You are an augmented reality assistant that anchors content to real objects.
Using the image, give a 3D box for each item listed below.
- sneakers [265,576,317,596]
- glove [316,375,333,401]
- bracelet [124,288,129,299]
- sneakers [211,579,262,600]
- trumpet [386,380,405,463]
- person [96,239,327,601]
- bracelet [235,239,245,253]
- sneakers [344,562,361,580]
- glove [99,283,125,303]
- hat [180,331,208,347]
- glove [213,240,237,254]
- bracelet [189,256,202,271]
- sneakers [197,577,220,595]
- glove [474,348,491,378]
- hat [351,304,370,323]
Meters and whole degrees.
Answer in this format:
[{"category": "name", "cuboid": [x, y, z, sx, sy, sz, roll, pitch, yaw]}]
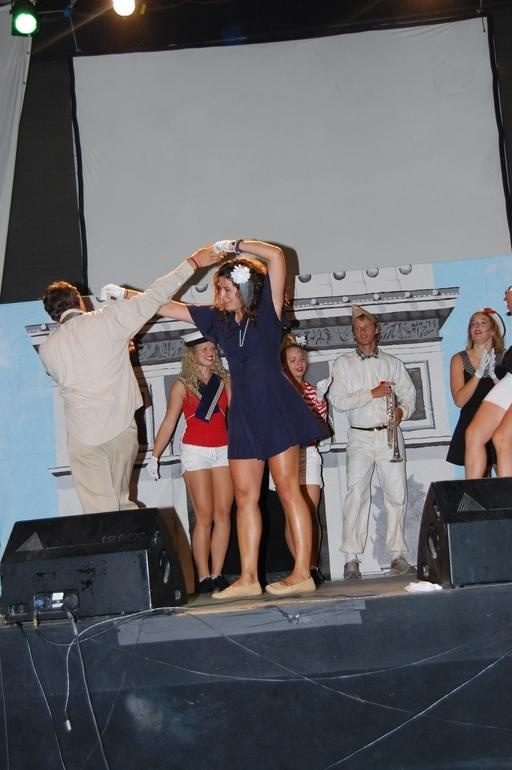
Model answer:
[{"category": "sneakers", "cuboid": [0.141, 0.791, 2.904, 0.150, 0.054, 0.079, 4, -12, -12]}, {"category": "glove", "cuboid": [0.427, 0.025, 4.610, 0.099, 0.060, 0.138, 20, -29, -30]}, {"category": "bracelet", "cuboid": [-0.607, -0.431, 3.475, 0.034, 0.044, 0.017, -7, 4, -41]}, {"category": "sneakers", "cuboid": [-0.073, 0.802, 2.891, 0.201, 0.069, 0.071, 1, -9, -1]}, {"category": "trumpet", "cuboid": [0.821, 0.230, 4.370, 0.081, 0.447, 0.178, -8, -2, 35]}, {"category": "person", "cuboid": [-0.007, 0.107, 2.991, 0.524, 1.392, 0.446, -8, -1, 6]}, {"category": "bracelet", "cuboid": [-0.058, -0.570, 3.016, 0.034, 0.050, 0.047, 4, -28, 1]}, {"category": "sneakers", "cuboid": [0.553, 1.089, 4.294, 0.083, 0.109, 0.111, 0, -33, 3]}, {"category": "glove", "cuboid": [-0.690, -0.436, 3.557, 0.159, 0.097, 0.205, -2, -1, -13]}, {"category": "hat", "cuboid": [-0.366, -0.270, 4.364, 0.102, 0.075, 0.133, -16, -1, -45]}, {"category": "glove", "cuboid": [-0.123, -0.590, 3.096, 0.095, 0.035, 0.070, 4, -12, 12]}, {"category": "bracelet", "cuboid": [-0.263, -0.538, 3.276, 0.024, 0.059, 0.052, -37, 16, 1]}, {"category": "sneakers", "cuboid": [-0.253, 1.066, 3.900, 0.084, 0.089, 0.220, 1, -4, -5]}, {"category": "glove", "cuboid": [1.330, -0.123, 4.353, 0.057, 0.050, 0.178, -17, -21, 6]}, {"category": "hat", "cuboid": [0.635, -0.450, 4.576, 0.144, 0.098, 0.155, -2, 28, -6]}]
